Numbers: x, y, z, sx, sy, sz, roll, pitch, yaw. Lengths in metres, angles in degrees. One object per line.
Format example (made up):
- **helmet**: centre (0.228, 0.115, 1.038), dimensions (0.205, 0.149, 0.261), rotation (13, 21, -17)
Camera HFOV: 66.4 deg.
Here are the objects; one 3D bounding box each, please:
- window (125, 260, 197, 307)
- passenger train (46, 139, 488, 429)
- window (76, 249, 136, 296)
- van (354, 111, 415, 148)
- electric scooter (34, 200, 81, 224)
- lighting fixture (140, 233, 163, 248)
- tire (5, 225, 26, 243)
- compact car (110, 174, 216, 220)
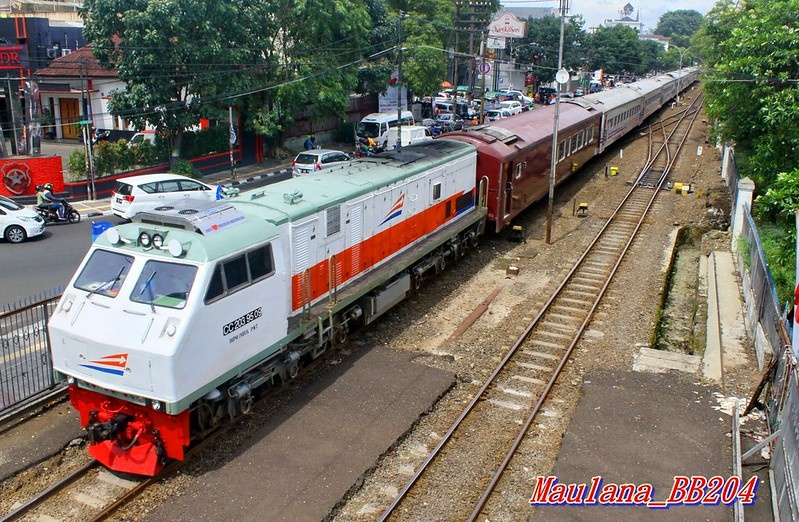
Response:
- **window**: centre (-5.044, 0.480, 13.054), dimensions (1.290, 0.891, 0.641), rotation (2, 16, 16)
- **passenger train**: centre (-2.959, -0.196, 17.108), dimensions (4.200, 4.040, 15.164), rotation (14, 29, 31)
- **window**: centre (-6.484, 0.256, 13.478), dimensions (1.106, 1.095, 0.260), rotation (16, -13, 20)
- **van**: centre (-0.794, -8.953, 41.209), dimensions (2.063, 2.159, 4.773), rotation (10, 25, 27)
- **electric scooter**: centre (-15.105, -2.136, 27.250), dimensions (1.974, 1.165, 0.842), rotation (-7, 27, -20)
- **lighting fixture**: centre (-5.425, -0.459, 13.351), dimensions (0.586, 0.357, 0.133), rotation (4, 17, 22)
- **tire**: centre (-15.289, -1.088, 24.228), dimensions (0.194, 0.525, 0.521), rotation (20, -3, 45)
- **compact car**: centre (-10.240, -2.947, 27.709), dimensions (2.217, 1.918, 5.213), rotation (17, 22, 41)
